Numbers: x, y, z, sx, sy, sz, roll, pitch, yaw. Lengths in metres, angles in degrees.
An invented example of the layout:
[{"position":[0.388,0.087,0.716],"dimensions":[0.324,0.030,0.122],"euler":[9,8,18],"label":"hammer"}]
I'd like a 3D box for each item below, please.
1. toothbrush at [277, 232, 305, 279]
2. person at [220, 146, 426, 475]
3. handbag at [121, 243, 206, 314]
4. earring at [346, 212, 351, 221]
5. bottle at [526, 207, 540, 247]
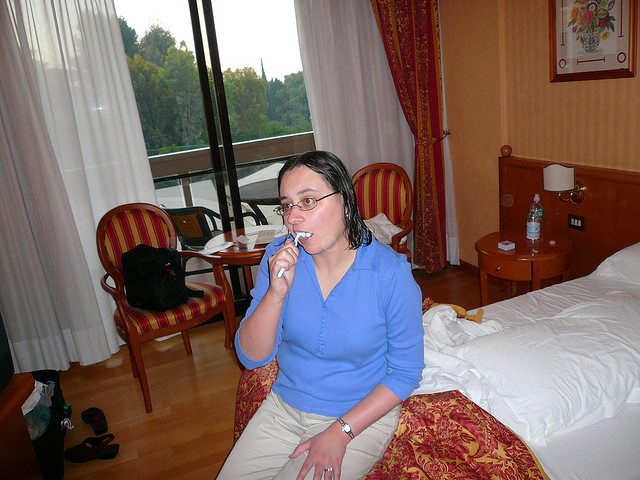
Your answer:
[{"position":[-0.110,0.067,1.809],"dimensions":[0.023,0.202,0.021],"euler":[24,-14,6],"label":"toothbrush"},{"position":[-0.003,0.316,1.794],"dimensions":[0.788,1.232,0.571],"euler":[-3,17,13],"label":"person"},{"position":[-1.208,0.218,3.448],"dimensions":[0.467,0.519,0.411],"euler":[6,18,24],"label":"handbag"},{"position":[0.113,-0.095,1.843],"dimensions":[0.019,0.031,0.009],"euler":[1,-7,-5],"label":"earring"},{"position":[1.639,-0.101,3.524],"dimensions":[0.086,0.255,0.192],"euler":[2,19,26],"label":"bottle"}]
